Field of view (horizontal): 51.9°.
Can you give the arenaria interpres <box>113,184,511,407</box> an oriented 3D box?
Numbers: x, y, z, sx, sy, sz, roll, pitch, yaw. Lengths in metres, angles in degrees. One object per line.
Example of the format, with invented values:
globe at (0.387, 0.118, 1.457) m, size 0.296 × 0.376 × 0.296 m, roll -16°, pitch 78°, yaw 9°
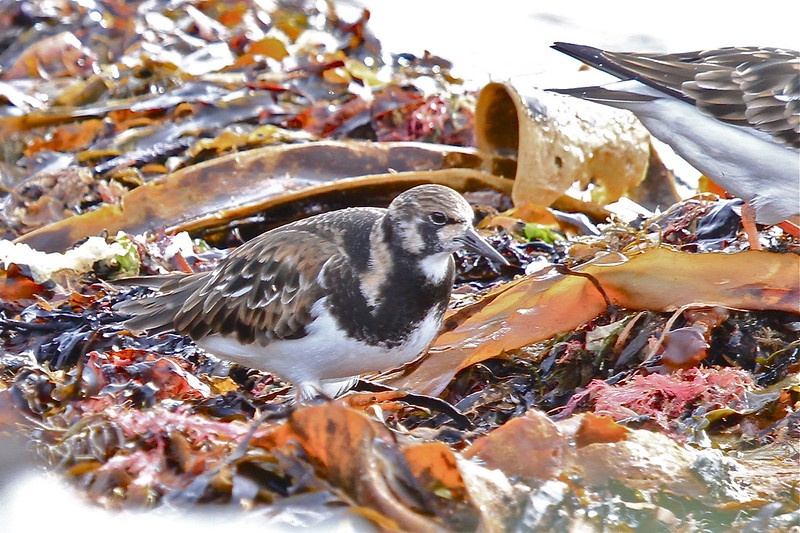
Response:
arenaria interpres at (-0.322, 0.107, 2.963) m, size 1.236 × 0.743 × 0.678 m, roll -11°, pitch 59°, yaw -17°
